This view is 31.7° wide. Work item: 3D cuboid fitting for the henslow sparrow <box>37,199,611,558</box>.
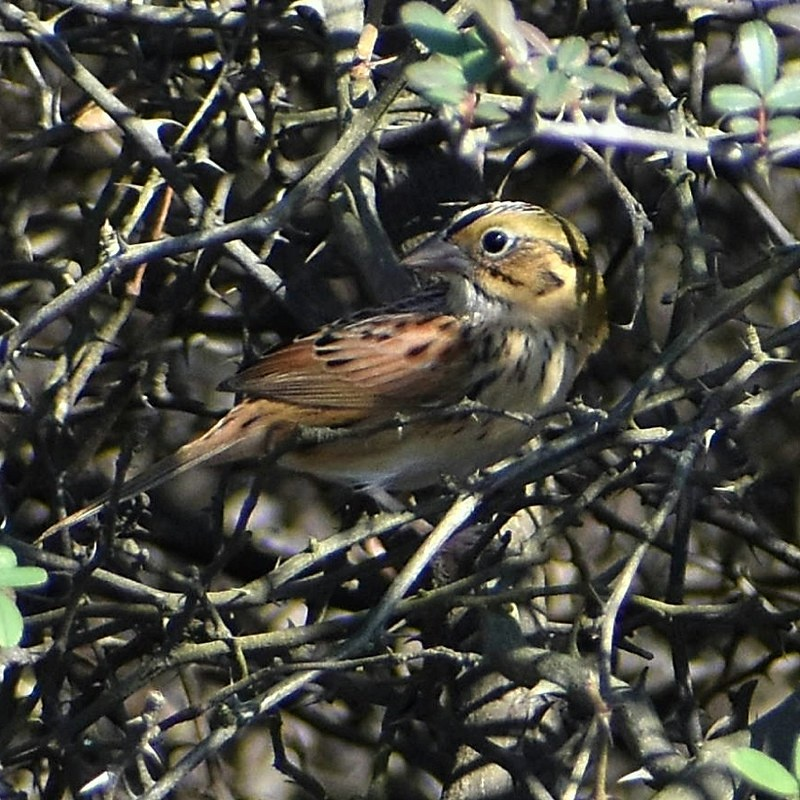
[{"bbox_3d":[-0.005,-0.061,3.114,0.861,0.731,0.513,10,44,14],"label":"henslow sparrow"}]
